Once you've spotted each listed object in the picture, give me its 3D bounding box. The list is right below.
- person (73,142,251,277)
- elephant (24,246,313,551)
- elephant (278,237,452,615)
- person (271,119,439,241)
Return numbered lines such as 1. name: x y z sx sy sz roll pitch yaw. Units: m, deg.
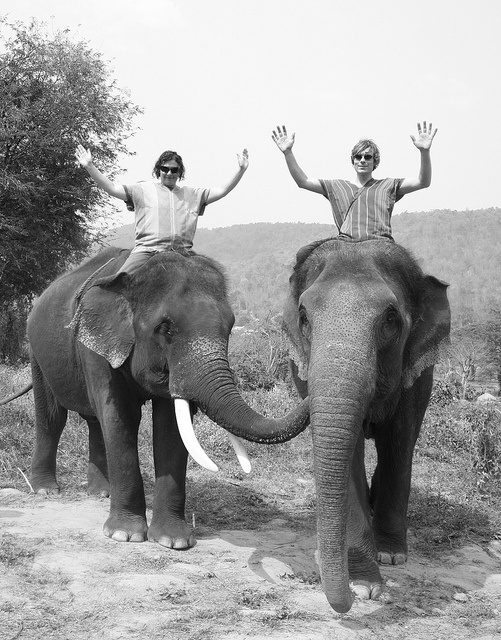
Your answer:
1. person: -0.535 -0.563 4.876 1.050 1.156 0.334 4 -18 -19
2. elephant: -0.692 0.417 4.853 0.887 1.804 2.922 5 0 -27
3. elephant: 0.562 0.463 4.143 0.809 1.761 1.745 4 -1 20
4. person: 0.619 -0.833 4.756 0.908 0.667 0.440 5 -1 12
